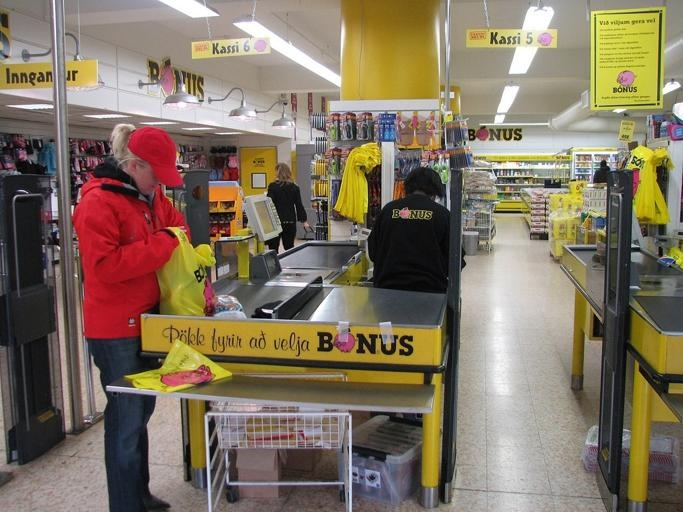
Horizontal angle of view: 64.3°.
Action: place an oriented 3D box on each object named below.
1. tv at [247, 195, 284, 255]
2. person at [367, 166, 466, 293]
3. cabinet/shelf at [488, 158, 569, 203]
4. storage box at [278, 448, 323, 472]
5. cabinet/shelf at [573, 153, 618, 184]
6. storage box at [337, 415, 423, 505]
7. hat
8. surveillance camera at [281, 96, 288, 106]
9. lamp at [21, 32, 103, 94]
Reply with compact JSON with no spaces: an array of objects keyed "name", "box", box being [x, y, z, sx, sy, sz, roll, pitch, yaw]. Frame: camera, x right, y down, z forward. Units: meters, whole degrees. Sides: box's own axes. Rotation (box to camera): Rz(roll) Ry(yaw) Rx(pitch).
[{"name":"tv","box":[-0.616,-0.321,4.378,0.068,0.362,0.472,-16,3,18]},{"name":"person","box":[0.565,-0.072,4.018,0.729,1.131,0.525,6,4,16]},{"name":"cabinet/shelf","box":[8.843,-3.517,26.008,3.233,2.727,1.634,2,10,14]},{"name":"storage box","box":[-0.270,1.327,3.564,0.201,0.137,0.210,0,-4,9]},{"name":"cabinet/shelf","box":[10.254,-3.358,22.351,1.845,1.990,0.687,0,2,-3]},{"name":"storage box","box":[0.315,1.253,3.419,0.356,0.242,0.376,4,10,33]},{"name":"hat","box":[-0.976,-0.515,2.825,0.244,0.308,0.251,-5,10,-22]},{"name":"surveillance camera","box":[-1.678,-4.597,16.110,0.232,0.244,0.184,-7,4,37]},{"name":"lamp","box":[-3.813,-2.777,7.318,0.794,0.485,0.286,8,31,-13]}]
